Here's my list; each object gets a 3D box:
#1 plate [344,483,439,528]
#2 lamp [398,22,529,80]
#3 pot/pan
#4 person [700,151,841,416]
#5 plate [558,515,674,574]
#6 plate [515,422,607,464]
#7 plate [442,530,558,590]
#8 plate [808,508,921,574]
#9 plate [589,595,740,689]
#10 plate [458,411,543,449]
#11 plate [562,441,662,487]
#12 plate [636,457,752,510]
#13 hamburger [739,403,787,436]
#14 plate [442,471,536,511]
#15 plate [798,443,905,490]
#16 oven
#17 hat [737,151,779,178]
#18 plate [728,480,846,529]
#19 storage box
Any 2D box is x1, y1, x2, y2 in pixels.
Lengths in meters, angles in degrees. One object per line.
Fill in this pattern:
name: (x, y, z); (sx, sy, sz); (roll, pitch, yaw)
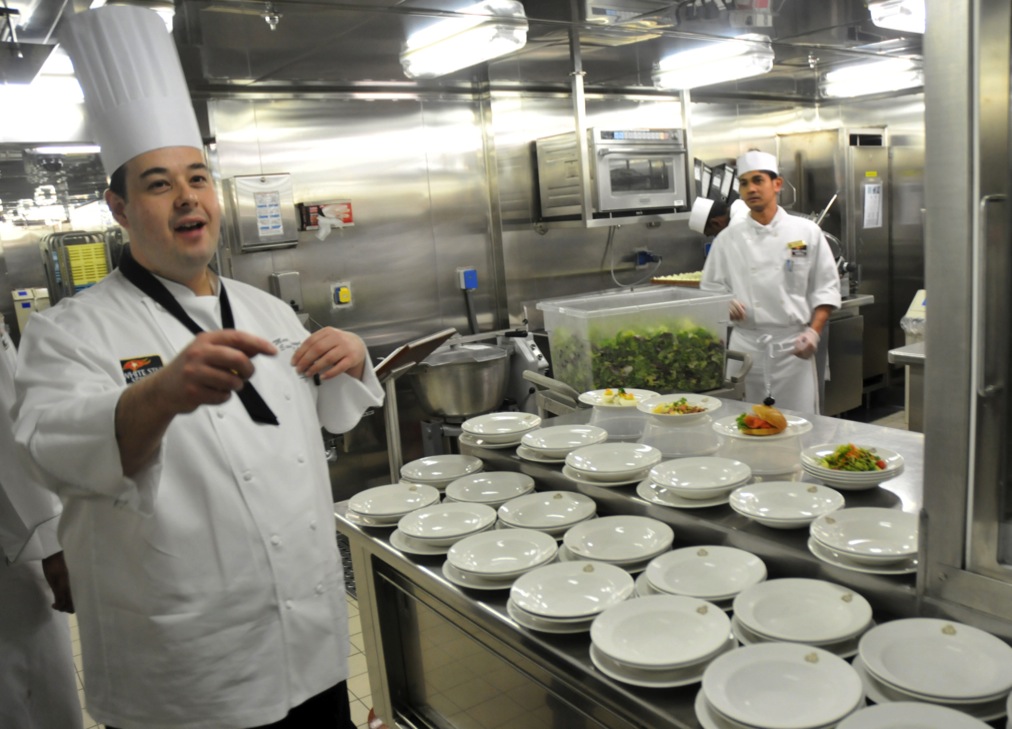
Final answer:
plate: (-0.346, 0.418, 2.150); (0.164, 0.035, 0.156); (-7, 10, -25)
lamp: (-0.238, -1.626, 3.686); (0.271, 0.127, 0.757); (-17, 16, -38)
pot/pan: (-0.241, 0.103, 4.129); (0.470, 0.280, 0.482); (-5, 2, -16)
person: (1.581, -0.214, 4.261); (0.848, 1.919, 0.673); (4, 26, 29)
plate: (0.289, 0.450, 1.813); (0.161, 0.035, 0.157); (-17, 14, -31)
plate: (0.184, 0.244, 2.291); (0.165, 0.035, 0.158); (-8, 10, -24)
plate: (-0.002, 0.492, 1.803); (0.173, 0.037, 0.167); (-4, 14, 26)
plate: (0.816, 0.395, 1.618); (0.175, 0.042, 0.171); (1, 18, 32)
plate: (0.315, 0.560, 1.455); (0.182, 0.040, 0.175); (-7, 16, 26)
plate: (-0.005, 0.223, 2.476); (0.168, 0.040, 0.163); (-8, 11, -35)
plate: (0.312, 0.287, 2.093); (0.160, 0.038, 0.156); (-1, 16, 30)
plate: (0.519, 0.318, 1.927); (0.180, 0.038, 0.170); (-10, 14, 4)
hamburger: (0.735, 0.157, 2.022); (0.100, 0.051, 0.099); (8, 12, 39)
plate: (-0.053, 0.380, 2.185); (0.144, 0.030, 0.136); (-8, 19, -16)
plate: (0.900, 0.268, 1.884); (0.165, 0.049, 0.164); (-14, 16, -42)
oven: (0.791, -1.306, 5.040); (0.971, 0.534, 0.665); (-12, 14, -36)
hat: (1.486, -1.171, 4.213); (0.225, 0.130, 0.268); (0, 11, 11)
plate: (0.705, 0.355, 1.785); (0.269, 0.041, 0.193); (-4, 13, 9)
storage box: (0.462, -0.099, 2.632); (0.613, 0.281, 0.394); (-5, 6, -29)
